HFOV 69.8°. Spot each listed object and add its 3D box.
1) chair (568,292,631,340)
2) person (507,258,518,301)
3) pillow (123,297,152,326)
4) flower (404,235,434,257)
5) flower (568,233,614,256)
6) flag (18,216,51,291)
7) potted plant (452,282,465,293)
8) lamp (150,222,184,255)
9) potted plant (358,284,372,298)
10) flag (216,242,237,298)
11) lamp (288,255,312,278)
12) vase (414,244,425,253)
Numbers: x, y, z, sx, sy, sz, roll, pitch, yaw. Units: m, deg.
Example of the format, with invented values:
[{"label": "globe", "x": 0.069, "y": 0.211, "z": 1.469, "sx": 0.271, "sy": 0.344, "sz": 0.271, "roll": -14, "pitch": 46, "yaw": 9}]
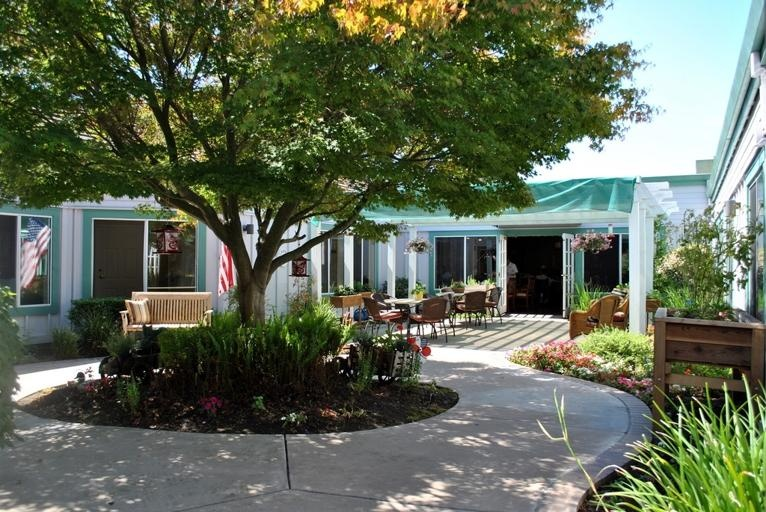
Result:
[{"label": "chair", "x": 4.608, "y": 1.267, "z": 11.788, "sx": 0.856, "sy": 1.061, "sz": 1.181, "roll": 0, "pitch": -1, "yaw": -28}, {"label": "person", "x": 4.443, "y": 0.822, "z": 19.127, "sx": 0.312, "sy": 1.132, "sz": 1.016, "roll": 2, "pitch": 6, "yaw": 12}, {"label": "pillow", "x": -4.796, "y": 1.102, "z": 10.695, "sx": 0.181, "sy": 0.428, "sz": 0.506, "roll": -1, "pitch": -2, "yaw": 19}, {"label": "flower", "x": 0.914, "y": -0.248, "z": 14.981, "sx": 0.710, "sy": 0.436, "sz": 0.729, "roll": 0, "pitch": -5, "yaw": 3}, {"label": "flower", "x": 5.649, "y": -0.380, "z": 15.448, "sx": 1.104, "sy": 0.750, "sz": 1.185, "roll": -2, "pitch": -1, "yaw": 44}, {"label": "flag", "x": -6.794, "y": -0.019, "z": 10.723, "sx": 0.605, "sy": 1.466, "sz": 1.534, "roll": -3, "pitch": 6, "yaw": -31}, {"label": "potted plant", "x": 2.191, "y": 0.921, "z": 16.143, "sx": 0.287, "sy": 0.221, "sz": 0.292, "roll": 0, "pitch": 0, "yaw": 9}, {"label": "lamp", "x": -3.310, "y": -0.271, "z": 8.426, "sx": 0.319, "sy": 0.435, "sz": 0.472, "roll": -3, "pitch": 6, "yaw": -32}, {"label": "potted plant", "x": -0.519, "y": 0.989, "z": 15.433, "sx": 0.293, "sy": 0.292, "sz": 0.272, "roll": 0, "pitch": -6, "yaw": -2}, {"label": "flag", "x": -3.270, "y": 0.316, "z": 11.528, "sx": 0.346, "sy": 1.227, "sz": 1.848, "roll": -1, "pitch": 5, "yaw": -16}, {"label": "lamp", "x": -1.515, "y": 0.183, "z": 10.047, "sx": 0.256, "sy": 0.394, "sz": 0.523, "roll": -1, "pitch": 5, "yaw": -15}, {"label": "vase", "x": 0.976, "y": -0.212, "z": 14.672, "sx": 0.191, "sy": 0.148, "sz": 0.198, "roll": -1, "pitch": -2, "yaw": 29}]
